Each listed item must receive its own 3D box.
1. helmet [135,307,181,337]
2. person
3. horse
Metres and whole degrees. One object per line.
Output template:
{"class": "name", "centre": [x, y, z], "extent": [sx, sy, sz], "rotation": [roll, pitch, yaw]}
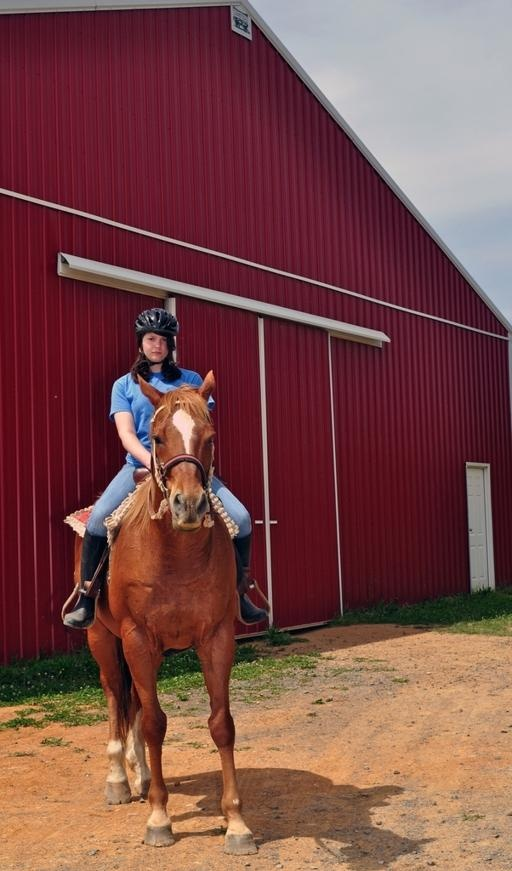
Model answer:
{"class": "helmet", "centre": [-0.616, -0.698, 6.282], "extent": [0.237, 0.194, 0.275], "rotation": [-4, -4, -8]}
{"class": "person", "centre": [-0.593, 0.203, 6.291], "extent": [1.096, 1.983, 1.020], "rotation": [0, 4, 1]}
{"class": "horse", "centre": [-0.539, 1.124, 5.910], "extent": [0.690, 2.295, 2.904], "rotation": [-1, -11, -15]}
